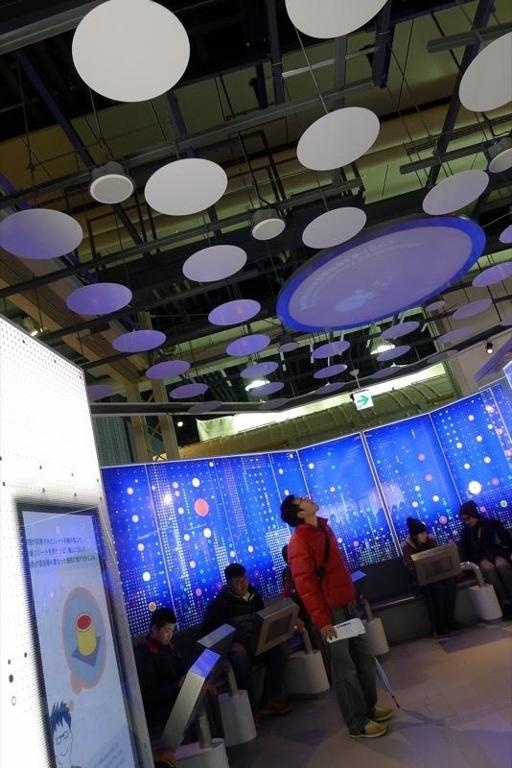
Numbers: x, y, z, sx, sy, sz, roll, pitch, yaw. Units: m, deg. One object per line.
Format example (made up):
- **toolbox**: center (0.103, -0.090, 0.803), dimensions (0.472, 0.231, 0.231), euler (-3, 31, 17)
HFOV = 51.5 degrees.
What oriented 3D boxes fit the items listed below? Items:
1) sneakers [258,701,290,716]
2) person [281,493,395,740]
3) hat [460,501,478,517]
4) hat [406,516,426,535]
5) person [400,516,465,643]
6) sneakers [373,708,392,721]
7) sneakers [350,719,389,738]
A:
- **sneakers**: center (0.152, 2.768, 4.529), dimensions (0.256, 0.119, 0.111), euler (-6, -13, 3)
- **person**: center (0.507, 1.503, 3.497), dimensions (0.361, 1.610, 0.636), euler (-19, -13, 2)
- **hat**: center (2.605, 1.549, 6.466), dimensions (0.146, 0.195, 0.184), euler (-28, 27, 45)
- **hat**: center (1.929, 1.679, 6.415), dimensions (0.162, 0.172, 0.221), euler (-24, 5, -24)
- **person**: center (2.069, 2.158, 5.864), dimensions (0.534, 1.063, 0.566), euler (-26, 27, -1)
- **sneakers**: center (0.859, 2.215, 3.586), dimensions (0.163, 0.066, 0.060), euler (-2, -9, -15)
- **sneakers**: center (0.747, 2.203, 3.445), dimensions (0.285, 0.125, 0.107), euler (-6, -9, 9)
